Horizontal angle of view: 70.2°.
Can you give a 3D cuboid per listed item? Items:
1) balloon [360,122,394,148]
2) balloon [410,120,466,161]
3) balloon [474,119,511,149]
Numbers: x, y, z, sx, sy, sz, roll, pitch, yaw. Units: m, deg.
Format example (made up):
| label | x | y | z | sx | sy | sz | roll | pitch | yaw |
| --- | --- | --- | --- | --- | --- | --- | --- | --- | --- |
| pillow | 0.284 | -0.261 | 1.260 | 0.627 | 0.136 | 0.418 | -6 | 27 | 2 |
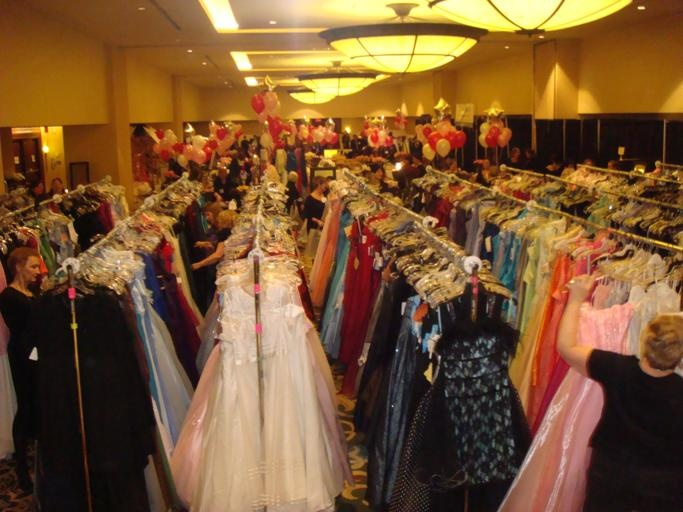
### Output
| label | x | y | z | sx | sy | sz | roll | pitch | yaw |
| --- | --- | --- | --- | --- | --- | --- | --- | --- | --- |
| balloon | 1.070 | -3.426 | 14.017 | 0.889 | 0.740 | 1.777 | -1 | 9 | -6 |
| balloon | 1.917 | -2.426 | 10.238 | 1.125 | 0.540 | 1.245 | 2 | 9 | 35 |
| balloon | 3.569 | -2.876 | 11.296 | 0.776 | 0.944 | 0.352 | 3 | -15 | 21 |
